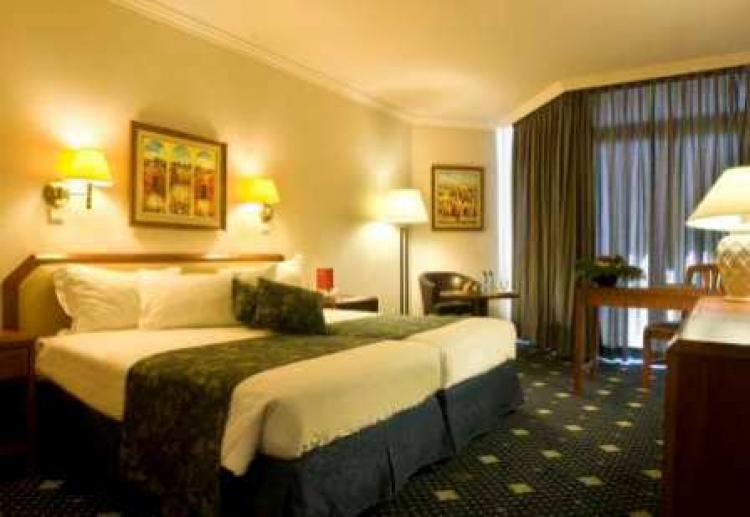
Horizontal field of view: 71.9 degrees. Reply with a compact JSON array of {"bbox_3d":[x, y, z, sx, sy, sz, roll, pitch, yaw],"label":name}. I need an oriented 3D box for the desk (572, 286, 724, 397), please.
[{"bbox_3d":[2.150,0.654,4.160,1.058,0.792,0.420,-1,-1,28],"label":"desk"}]

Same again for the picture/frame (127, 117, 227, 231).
[{"bbox_3d":[-1.862,-0.775,4.758,0.043,1.081,1.092,3,4,41],"label":"picture/frame"}]

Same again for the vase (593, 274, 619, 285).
[{"bbox_3d":[2.156,0.210,4.866,0.135,0.066,0.136,1,-5,-8],"label":"vase"}]

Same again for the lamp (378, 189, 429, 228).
[{"bbox_3d":[0.381,-0.622,6.711,0.494,0.360,0.502,0,3,18],"label":"lamp"}]

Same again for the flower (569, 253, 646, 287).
[{"bbox_3d":[2.148,0.118,5.002,0.544,0.250,0.543,1,0,-16],"label":"flower"}]

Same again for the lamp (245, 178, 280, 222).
[{"bbox_3d":[-1.144,-0.594,5.406,0.377,0.474,0.311,-6,11,-33],"label":"lamp"}]

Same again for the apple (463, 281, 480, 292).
[{"bbox_3d":[1.128,0.328,6.051,0.131,0.097,0.218,-6,-1,-4],"label":"apple"}]

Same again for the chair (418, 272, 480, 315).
[{"bbox_3d":[0.982,0.465,6.924,0.621,0.673,0.610,2,-7,-26],"label":"chair"}]

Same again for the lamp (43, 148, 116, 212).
[{"bbox_3d":[-2.382,-0.639,4.338,0.562,0.546,0.378,-2,-3,22],"label":"lamp"}]
